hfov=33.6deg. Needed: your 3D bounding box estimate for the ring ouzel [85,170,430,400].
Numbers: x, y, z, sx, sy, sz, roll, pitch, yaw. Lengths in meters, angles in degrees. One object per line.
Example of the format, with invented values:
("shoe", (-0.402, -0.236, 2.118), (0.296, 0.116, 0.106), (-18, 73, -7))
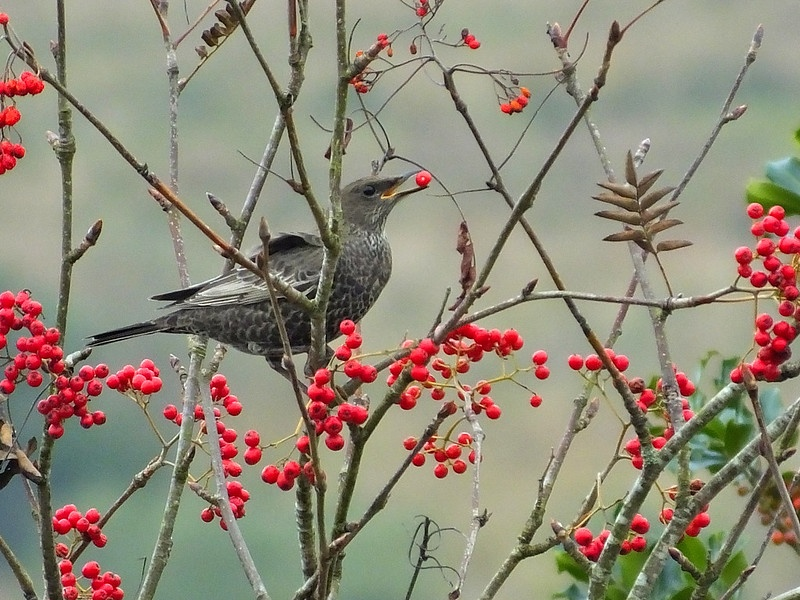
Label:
("ring ouzel", (-0.588, -0.072, 5.612), (1.477, 0.470, 0.901), (-2, -90, 12))
